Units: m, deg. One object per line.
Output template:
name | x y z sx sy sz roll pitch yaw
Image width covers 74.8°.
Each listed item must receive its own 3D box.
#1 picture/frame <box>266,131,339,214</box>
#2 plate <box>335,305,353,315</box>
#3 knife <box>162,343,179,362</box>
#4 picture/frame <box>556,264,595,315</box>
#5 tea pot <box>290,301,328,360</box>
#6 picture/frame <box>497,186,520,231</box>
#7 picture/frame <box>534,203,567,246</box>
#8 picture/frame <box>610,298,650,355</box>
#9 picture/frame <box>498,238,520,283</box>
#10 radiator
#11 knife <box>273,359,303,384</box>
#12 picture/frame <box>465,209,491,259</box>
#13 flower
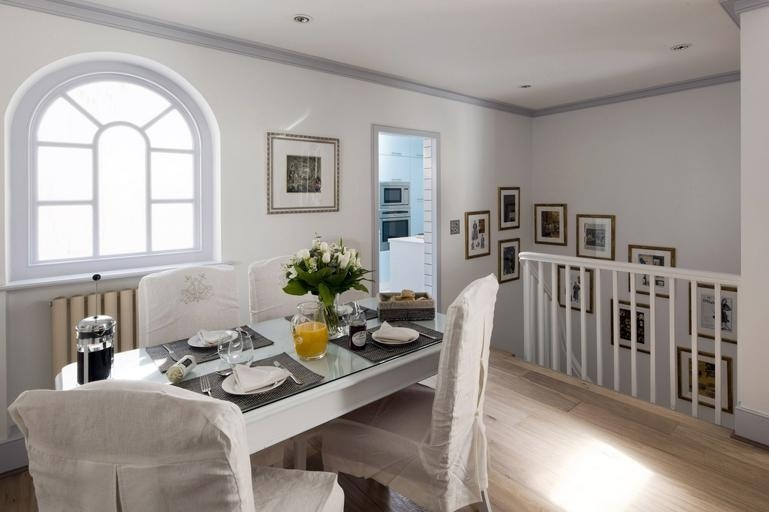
picture/frame | -0.759 -0.746 4.457 0.727 0.745 0.032 -3 3 -41
plate | -0.264 0.352 3.327 0.079 0.020 0.081 2 1 29
knife | -1.238 0.559 2.901 0.052 0.037 0.256 -12 17 -37
picture/frame | 2.086 0.362 5.432 0.037 0.727 0.606 -2 3 -31
tea pot | -0.443 0.442 2.919 0.201 0.297 0.279 1 4 33
picture/frame | 1.528 -0.603 6.236 0.042 0.588 0.500 3 6 41
picture/frame | 2.122 -0.405 6.366 0.041 0.576 0.484 -6 9 -35
picture/frame | 2.698 0.803 5.479 0.366 0.543 0.758 1 6 19
picture/frame | 1.540 0.047 6.278 0.043 0.646 0.529 1 3 42
radiator | -1.879 0.472 3.200 0.074 0.762 0.595 5 6 43
knife | -0.516 0.625 2.715 0.063 0.018 0.387 3 4 -24
picture/frame | 1.076 -0.262 5.886 0.041 0.627 0.537 1 4 41
flower | -0.401 0.129 3.192 0.515 0.473 0.529 0 5 -17
